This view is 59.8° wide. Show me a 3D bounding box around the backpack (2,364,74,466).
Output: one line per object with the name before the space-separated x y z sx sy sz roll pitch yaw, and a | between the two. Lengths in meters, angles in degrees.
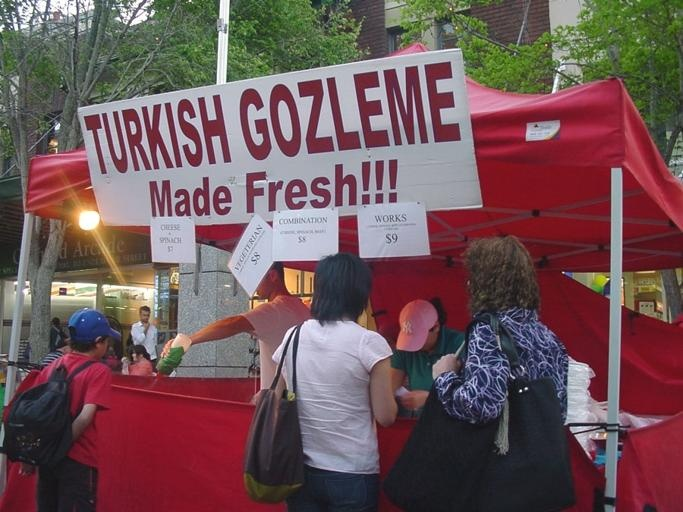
backpack | -2.118 1.177 4.143 0.444 0.566 0.196 -4 -4 7

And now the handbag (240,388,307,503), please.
handbag | -0.389 1.093 3.429 0.327 0.613 0.161 -3 -4 0

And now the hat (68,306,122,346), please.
hat | -1.905 0.552 4.594 0.220 0.208 0.327 8 9 32

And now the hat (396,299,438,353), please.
hat | 0.619 0.563 4.687 0.259 0.220 0.419 4 47 43

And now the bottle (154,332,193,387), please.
bottle | -1.255 0.755 4.489 0.249 0.308 0.365 -2 -4 -15

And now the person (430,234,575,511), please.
person | 0.972 0.500 3.539 0.625 1.197 0.858 -3 -1 35
